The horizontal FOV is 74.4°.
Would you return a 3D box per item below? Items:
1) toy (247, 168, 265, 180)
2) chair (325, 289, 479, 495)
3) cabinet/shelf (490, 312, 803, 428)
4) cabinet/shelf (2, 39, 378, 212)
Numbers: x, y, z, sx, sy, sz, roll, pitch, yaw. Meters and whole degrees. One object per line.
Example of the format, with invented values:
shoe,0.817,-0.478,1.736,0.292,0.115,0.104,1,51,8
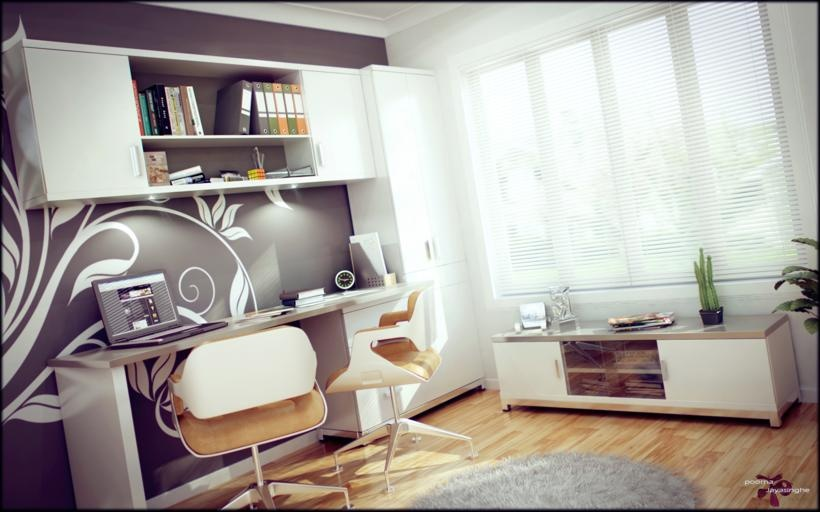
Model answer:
toy,-1.230,-0.660,4.370,0.163,0.088,0.080,1,2,8
chair,-0.007,0.965,4.521,1.582,1.354,1.442,0,-3,8
cabinet/shelf,1.832,0.894,4.321,2.039,0.729,0.475,-4,12,29
cabinet/shelf,-1.510,-1.045,4.248,2.711,0.810,0.397,-13,8,-35
